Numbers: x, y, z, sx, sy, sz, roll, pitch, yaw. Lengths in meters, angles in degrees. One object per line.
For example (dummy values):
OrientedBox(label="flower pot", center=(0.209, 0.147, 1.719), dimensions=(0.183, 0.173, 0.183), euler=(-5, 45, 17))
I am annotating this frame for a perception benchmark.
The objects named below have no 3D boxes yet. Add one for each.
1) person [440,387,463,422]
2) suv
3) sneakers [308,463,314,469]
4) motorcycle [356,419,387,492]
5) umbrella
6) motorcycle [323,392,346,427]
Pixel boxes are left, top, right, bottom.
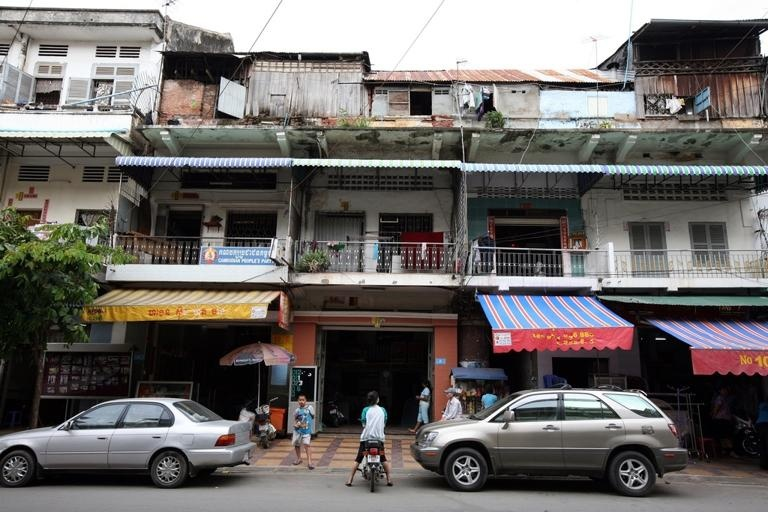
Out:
OrientedBox(label="person", center=(1.997, 4.432, 18.650), dimensions=(0.642, 1.042, 0.601), euler=(0, 1, 32))
OrientedBox(label="suv", center=(4.232, 4.603, 16.669), dimensions=(6.115, 2.302, 2.759), euler=(2, -18, 3))
OrientedBox(label="sneakers", center=(-1.983, 5.721, 17.315), dimensions=(0.142, 0.116, 0.170), euler=(1, -1, -7))
OrientedBox(label="motorcycle", center=(-0.282, 5.118, 15.864), dimensions=(0.634, 1.257, 0.972), euler=(1, -1, -1))
OrientedBox(label="umbrella", center=(-4.087, 3.668, 20.398), dimensions=(2.292, 1.939, 2.288), euler=(1, -10, 8))
OrientedBox(label="motorcycle", center=(-1.863, 5.754, 23.534), dimensions=(0.613, 0.702, 1.174), euler=(-3, -14, 5))
